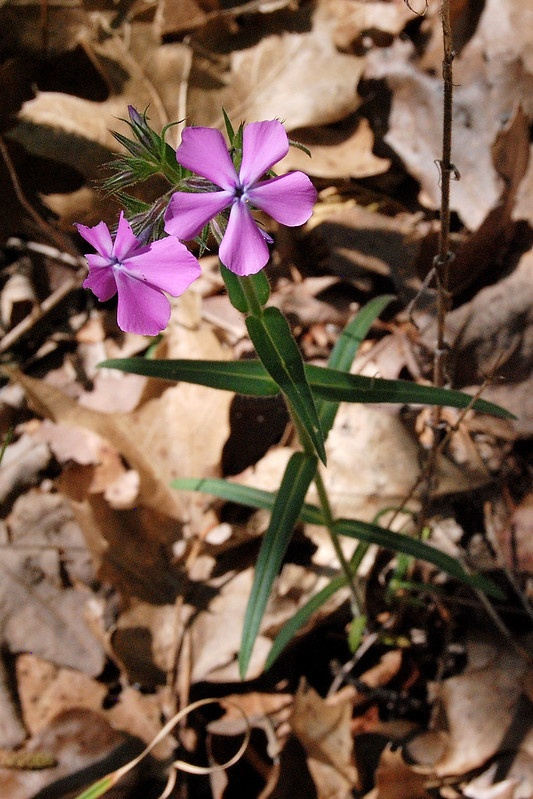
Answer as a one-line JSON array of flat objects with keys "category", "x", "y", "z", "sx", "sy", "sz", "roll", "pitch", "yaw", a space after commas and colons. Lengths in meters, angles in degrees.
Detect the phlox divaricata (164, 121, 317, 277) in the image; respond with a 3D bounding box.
[{"category": "phlox divaricata", "x": -0.065, "y": -0.408, "z": 1.616, "sx": 0.353, "sy": 0.089, "sz": 0.305, "roll": 12, "pitch": 98, "yaw": -9}]
